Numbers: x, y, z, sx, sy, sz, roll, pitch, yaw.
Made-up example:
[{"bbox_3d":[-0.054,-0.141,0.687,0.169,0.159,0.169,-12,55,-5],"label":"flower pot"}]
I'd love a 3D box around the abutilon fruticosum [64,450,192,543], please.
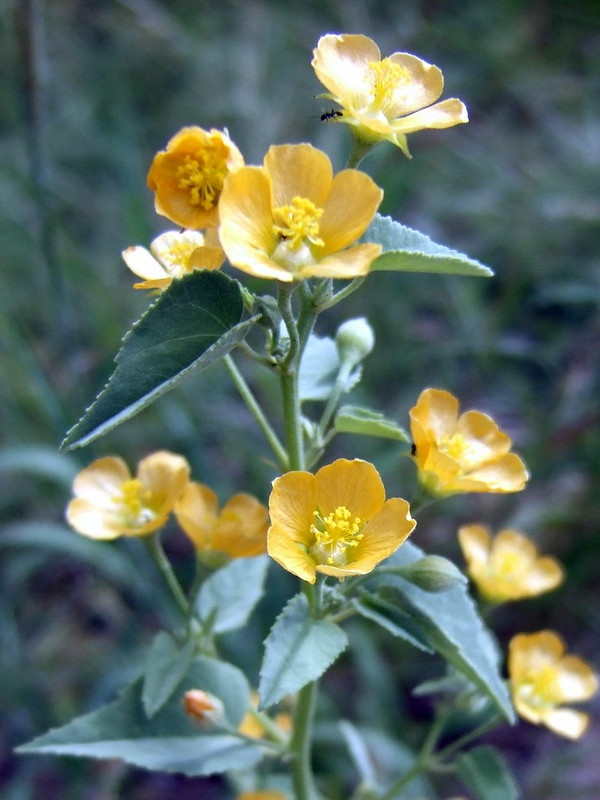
[{"bbox_3d":[-0.258,0.154,1.381,0.187,0.130,0.155,-5,60,3],"label":"abutilon fruticosum"}]

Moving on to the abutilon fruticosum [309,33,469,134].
[{"bbox_3d":[0.132,-0.472,1.318,0.218,0.113,0.183,-3,59,4],"label":"abutilon fruticosum"}]

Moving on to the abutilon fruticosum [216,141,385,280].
[{"bbox_3d":[0.005,-0.249,1.203,0.214,0.131,0.224,-2,59,5],"label":"abutilon fruticosum"}]

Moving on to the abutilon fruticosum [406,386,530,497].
[{"bbox_3d":[0.260,0.070,1.371,0.170,0.172,0.172,-4,61,4],"label":"abutilon fruticosum"}]

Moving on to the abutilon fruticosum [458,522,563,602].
[{"bbox_3d":[0.380,0.297,1.554,0.164,0.164,0.075,23,87,40],"label":"abutilon fruticosum"}]

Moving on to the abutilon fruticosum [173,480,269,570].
[{"bbox_3d":[-0.118,0.187,1.360,0.124,0.144,0.115,-19,61,-4],"label":"abutilon fruticosum"}]

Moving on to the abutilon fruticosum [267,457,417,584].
[{"bbox_3d":[0.041,0.188,1.243,0.203,0.099,0.209,19,46,8],"label":"abutilon fruticosum"}]
